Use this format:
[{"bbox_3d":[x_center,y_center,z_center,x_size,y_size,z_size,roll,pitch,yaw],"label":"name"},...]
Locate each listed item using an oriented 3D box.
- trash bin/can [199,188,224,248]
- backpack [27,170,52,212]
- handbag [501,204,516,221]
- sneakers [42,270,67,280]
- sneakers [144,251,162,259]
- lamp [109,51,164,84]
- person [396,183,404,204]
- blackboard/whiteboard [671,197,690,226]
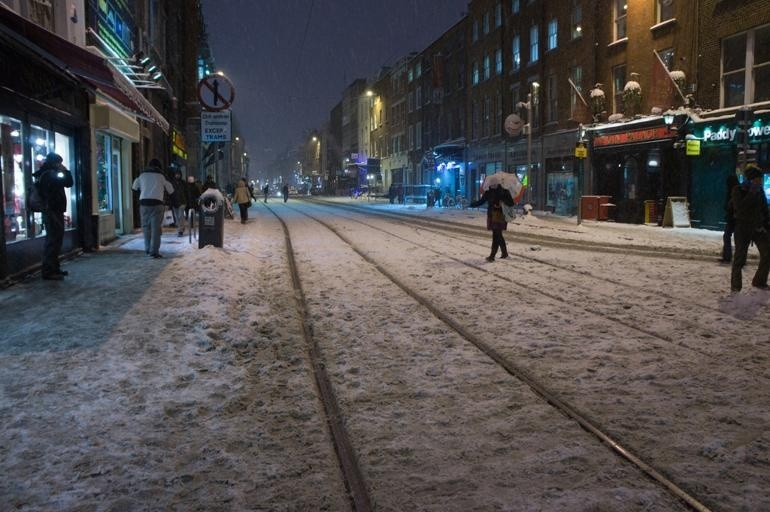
[{"bbox_3d":[-4.526,-0.967,14.893,0.698,1.519,0.703,-7,15,-26],"label":"trash bin/can"},{"bbox_3d":[-6.920,-1.261,11.377,0.318,0.746,0.439,-9,16,-33],"label":"backpack"},{"bbox_3d":[3.090,-1.109,14.440,0.209,0.482,0.284,-32,15,-17],"label":"handbag"},{"bbox_3d":[-6.554,0.375,11.396,0.421,0.224,0.154,-4,9,-22],"label":"sneakers"},{"bbox_3d":[-5.812,-0.068,14.275,0.470,0.254,0.180,4,3,2],"label":"sneakers"},{"bbox_3d":[-8.284,-6.329,19.331,0.977,1.007,3.762,-7,19,-27],"label":"lamp"},{"bbox_3d":[1.432,-5.722,52.222,0.505,1.607,1.292,-4,15,-17],"label":"person"},{"bbox_3d":[11.136,-1.676,21.664,0.708,1.073,0.517,3,14,13],"label":"blackboard/whiteboard"}]
